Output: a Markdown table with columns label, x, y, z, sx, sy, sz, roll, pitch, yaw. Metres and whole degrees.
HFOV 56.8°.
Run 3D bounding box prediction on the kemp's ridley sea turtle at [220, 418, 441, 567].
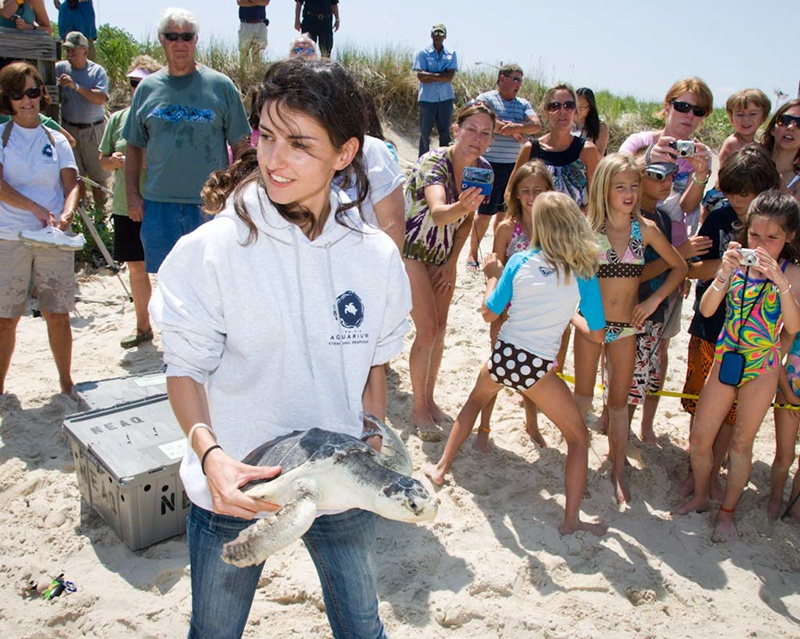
| label | x | y | z | sx | sy | sz | roll | pitch | yaw |
| --- | --- | --- | --- | --- | --- | --- | --- | --- | --- |
| kemp's ridley sea turtle | -0.277 | 0.632 | 2.812 | 0.584 | 0.208 | 0.608 | 19 | 22 | 31 |

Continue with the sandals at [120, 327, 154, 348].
| label | x | y | z | sx | sy | sz | roll | pitch | yaw |
| --- | --- | --- | --- | --- | --- | --- | --- | --- | --- |
| sandals | -2.547 | 0.194 | 7.262 | 0.126 | 0.172 | 0.364 | 4 | 17 | 39 |

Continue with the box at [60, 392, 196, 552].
| label | x | y | z | sx | sy | sz | roll | pitch | yaw |
| --- | --- | --- | --- | --- | --- | --- | --- | --- | --- |
| box | -1.857 | 1.146 | 5.131 | 0.760 | 0.683 | 0.959 | -16 | 35 | -38 |

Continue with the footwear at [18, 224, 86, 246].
| label | x | y | z | sx | sy | sz | roll | pitch | yaw |
| --- | --- | --- | --- | --- | --- | --- | --- | --- | --- |
| footwear | -2.664 | -0.622 | 5.660 | 0.342 | 0.168 | 0.206 | -5 | 7 | -22 |
